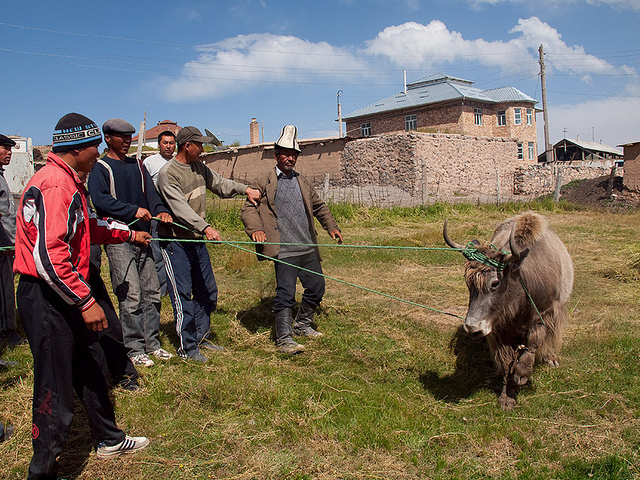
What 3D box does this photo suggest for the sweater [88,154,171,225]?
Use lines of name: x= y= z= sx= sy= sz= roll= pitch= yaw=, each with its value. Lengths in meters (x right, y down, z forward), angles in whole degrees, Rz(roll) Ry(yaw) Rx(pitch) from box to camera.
sweater: x=-2.109 y=-0.536 z=5.870 sx=0.528 sy=0.952 sz=0.902 roll=-4 pitch=4 yaw=30

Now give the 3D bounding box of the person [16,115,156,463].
person: x=-2.080 y=0.435 z=4.490 sx=0.792 sy=2.874 sz=1.219 roll=-6 pitch=15 yaw=-24

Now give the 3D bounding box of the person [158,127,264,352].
person: x=-1.382 y=-0.008 z=6.484 sx=0.894 sy=2.687 sz=1.066 roll=6 pitch=15 yaw=22

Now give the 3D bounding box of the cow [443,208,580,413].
cow: x=2.216 y=0.656 z=6.013 sx=1.043 sy=1.850 sz=2.833 roll=3 pitch=9 yaw=32

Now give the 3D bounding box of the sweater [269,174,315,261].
sweater: x=-0.334 y=-0.276 z=6.531 sx=0.588 sy=0.932 sz=0.233 roll=-9 pitch=0 yaw=-15
